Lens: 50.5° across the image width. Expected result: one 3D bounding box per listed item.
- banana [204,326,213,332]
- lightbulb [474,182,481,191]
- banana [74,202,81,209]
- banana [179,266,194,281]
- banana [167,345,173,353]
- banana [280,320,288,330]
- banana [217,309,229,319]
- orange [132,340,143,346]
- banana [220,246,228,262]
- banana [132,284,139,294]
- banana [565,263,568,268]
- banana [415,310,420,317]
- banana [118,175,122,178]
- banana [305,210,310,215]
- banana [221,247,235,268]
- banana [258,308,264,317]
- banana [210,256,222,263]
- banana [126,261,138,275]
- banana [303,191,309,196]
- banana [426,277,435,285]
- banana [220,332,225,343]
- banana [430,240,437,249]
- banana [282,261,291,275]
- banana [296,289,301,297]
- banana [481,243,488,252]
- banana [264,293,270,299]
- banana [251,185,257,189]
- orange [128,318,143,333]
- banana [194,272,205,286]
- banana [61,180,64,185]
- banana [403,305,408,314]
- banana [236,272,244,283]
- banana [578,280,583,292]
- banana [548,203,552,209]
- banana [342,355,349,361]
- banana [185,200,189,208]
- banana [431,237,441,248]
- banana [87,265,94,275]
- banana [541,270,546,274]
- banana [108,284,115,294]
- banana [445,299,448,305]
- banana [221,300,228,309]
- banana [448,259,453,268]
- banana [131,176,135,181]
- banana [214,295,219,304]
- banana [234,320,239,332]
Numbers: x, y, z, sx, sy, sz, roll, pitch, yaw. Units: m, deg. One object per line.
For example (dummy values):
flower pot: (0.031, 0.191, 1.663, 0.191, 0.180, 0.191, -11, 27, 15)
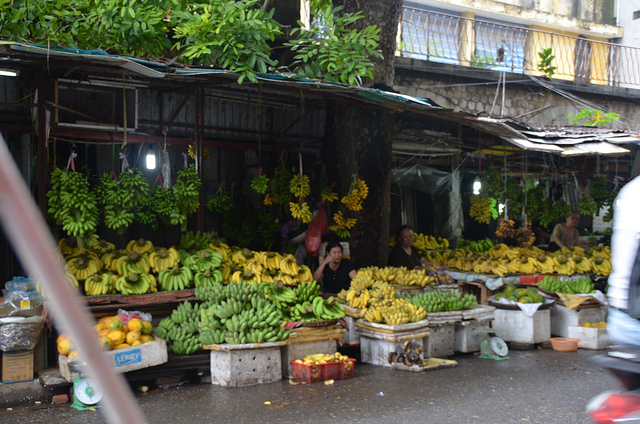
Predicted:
banana: (-1.630, 1.677, 9.850, 0.094, 0.070, 0.030, -4, 7, -1)
lightbulb: (3.360, -0.567, 14.613, 0.148, 0.180, 0.151, -1, 2, -23)
banana: (-3.505, -0.102, 9.833, 0.091, 0.046, 0.031, -37, 7, 5)
banana: (-2.042, 0.920, 10.449, 0.057, 0.158, 0.205, -32, -32, 12)
banana: (-2.214, 2.000, 9.982, 0.076, 0.108, 0.024, -1, 7, 24)
banana: (-0.535, 1.644, 9.965, 0.038, 0.141, 0.035, 38, -8, 4)
banana: (-1.424, 1.465, 9.874, 0.059, 0.229, 0.060, -43, 9, -9)
orange: (-2.529, 1.789, 9.387, 0.136, 0.049, 0.136, -7, 7, -19)
banana: (-1.552, 0.659, 11.046, 0.068, 0.264, 0.088, -30, -16, 39)
banana: (-2.747, 1.138, 10.114, 0.042, 0.165, 0.044, -42, -36, 6)
banana: (4.749, 1.014, 13.117, 0.079, 0.082, 0.021, 6, -3, 11)
banana: (1.524, 1.589, 10.682, 0.063, 0.086, 0.023, 19, -22, 14)
banana: (-2.998, -0.541, 10.183, 0.036, 0.040, 0.010, -2, 4, 15)
banana: (-0.233, -0.002, 11.911, 0.069, 0.066, 0.017, 0, -4, -25)
banana: (-1.494, 0.730, 10.977, 0.057, 0.296, 0.105, -15, 1, 9)
banana: (-0.874, 1.455, 9.904, 0.033, 0.116, 0.039, 22, -20, -16)
banana: (-1.635, 0.738, 10.706, 0.250, 0.057, 0.066, 26, -3, -2)
banana: (-2.840, 0.832, 10.257, 0.221, 0.168, 0.091, 1, 8, 38)
banana: (-0.251, -0.342, 12.079, 0.032, 0.030, 0.127, -9, -44, 47)
banana: (1.979, 1.225, 12.184, 0.057, 0.066, 0.222, -3, 17, 43)
banana: (-1.413, 1.789, 9.786, 0.063, 0.121, 0.038, 13, -2, -7)
banana: (2.457, 0.690, 14.726, 0.051, 0.244, 0.066, -36, 0, 5)
banana: (-0.557, 0.912, 11.039, 0.135, 0.155, 0.052, -54, -17, 25)
banana: (-0.336, 1.237, 10.425, 0.031, 0.130, 0.030, -14, -14, 0)
banana: (3.564, 0.754, 14.792, 0.067, 0.246, 0.051, -17, -23, -28)
banana: (-0.813, 1.271, 10.306, 0.085, 0.038, 0.119, 3, -2, -3)
banana: (-1.126, -0.435, 11.659, 0.124, 0.034, 0.027, -35, -45, 7)
orange: (-2.616, 1.586, 9.620, 0.194, 0.170, 0.165, -4, -25, -41)
banana: (-1.866, 1.015, 10.499, 0.147, 0.189, 0.083, -11, 9, -44)
banana: (-3.712, -0.436, 9.787, 0.035, 0.061, 0.014, 4, 8, -13)
banana: (1.335, 1.507, 10.665, 0.055, 0.093, 0.023, 13, -24, -40)
banana: (-1.275, 1.001, 10.686, 0.087, 0.130, 0.163, 1, 8, 34)
banana: (4.589, 1.296, 11.998, 0.046, 0.206, 0.071, 10, -11, 11)
banana: (4.859, -0.139, 14.386, 0.024, 0.117, 0.031, 15, -18, 27)
banana: (0.371, 2.155, 10.073, 0.104, 0.052, 0.143, -6, -2, 11)
banana: (-2.090, -0.127, 10.648, 0.060, 0.104, 0.058, -6, 7, -17)
banana: (2.506, 0.650, 14.768, 0.053, 0.359, 0.084, -41, 8, -31)
banana: (-3.411, 0.855, 10.116, 0.035, 0.164, 0.044, -20, -5, -44)
banana: (4.298, 1.141, 13.072, 0.055, 0.061, 0.015, 2, 2, 19)
banana: (-3.100, 1.137, 10.081, 0.098, 0.098, 0.040, -7, 7, -20)
banana: (2.069, 1.467, 11.137, 0.044, 0.062, 0.015, 13, -37, -19)
banana: (-1.411, 1.342, 9.954, 0.088, 0.088, 0.188, -6, 7, -15)
banana: (2.674, 1.036, 13.957, 0.094, 0.134, 0.144, -3, 7, 11)
banana: (-2.819, -0.506, 10.222, 0.050, 0.075, 0.017, 5, 2, 3)
banana: (-1.532, 1.287, 10.059, 0.030, 0.087, 0.060, -4, 14, -38)
banana: (-1.200, 1.627, 9.761, 0.057, 0.118, 0.038, -6, -10, 19)
